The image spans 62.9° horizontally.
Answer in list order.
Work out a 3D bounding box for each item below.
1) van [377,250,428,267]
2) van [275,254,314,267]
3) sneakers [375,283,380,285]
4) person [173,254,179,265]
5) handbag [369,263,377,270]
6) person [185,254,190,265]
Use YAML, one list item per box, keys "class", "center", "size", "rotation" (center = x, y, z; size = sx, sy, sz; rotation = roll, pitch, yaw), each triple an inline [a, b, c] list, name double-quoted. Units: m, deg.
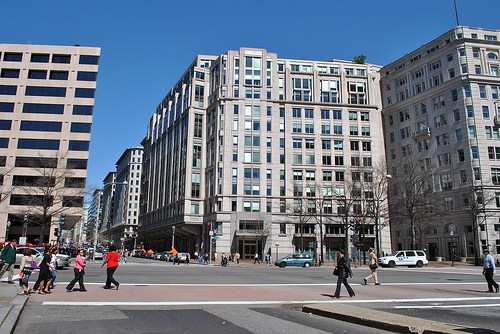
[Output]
- class: "van"
  center: [19.012, 11.370, 50.630]
  size: [5.775, 2.037, 1.523]
  rotation: [4, -14, -11]
- class: "van"
  center: [5.824, 12.620, 54.827]
  size: [4.297, 1.495, 1.974]
  rotation: [2, -17, 0]
- class: "sneakers"
  center: [9.297, 8.529, 29.804]
  size: [0.469, 0.143, 0.164]
  rotation: [2, -10, -17]
- class: "person"
  center: [-11.138, 13.990, 61.308]
  size: [0.918, 1.440, 1.952]
  rotation: [0, -53, -14]
- class: "handbag"
  center: [8.769, 7.125, 29.194]
  size: [0.627, 0.407, 0.365]
  rotation: [-14, -30, 31]
- class: "person"
  center: [-9.424, 13.712, 61.031]
  size: [0.438, 1.505, 1.772]
  rotation: [4, -14, -12]
